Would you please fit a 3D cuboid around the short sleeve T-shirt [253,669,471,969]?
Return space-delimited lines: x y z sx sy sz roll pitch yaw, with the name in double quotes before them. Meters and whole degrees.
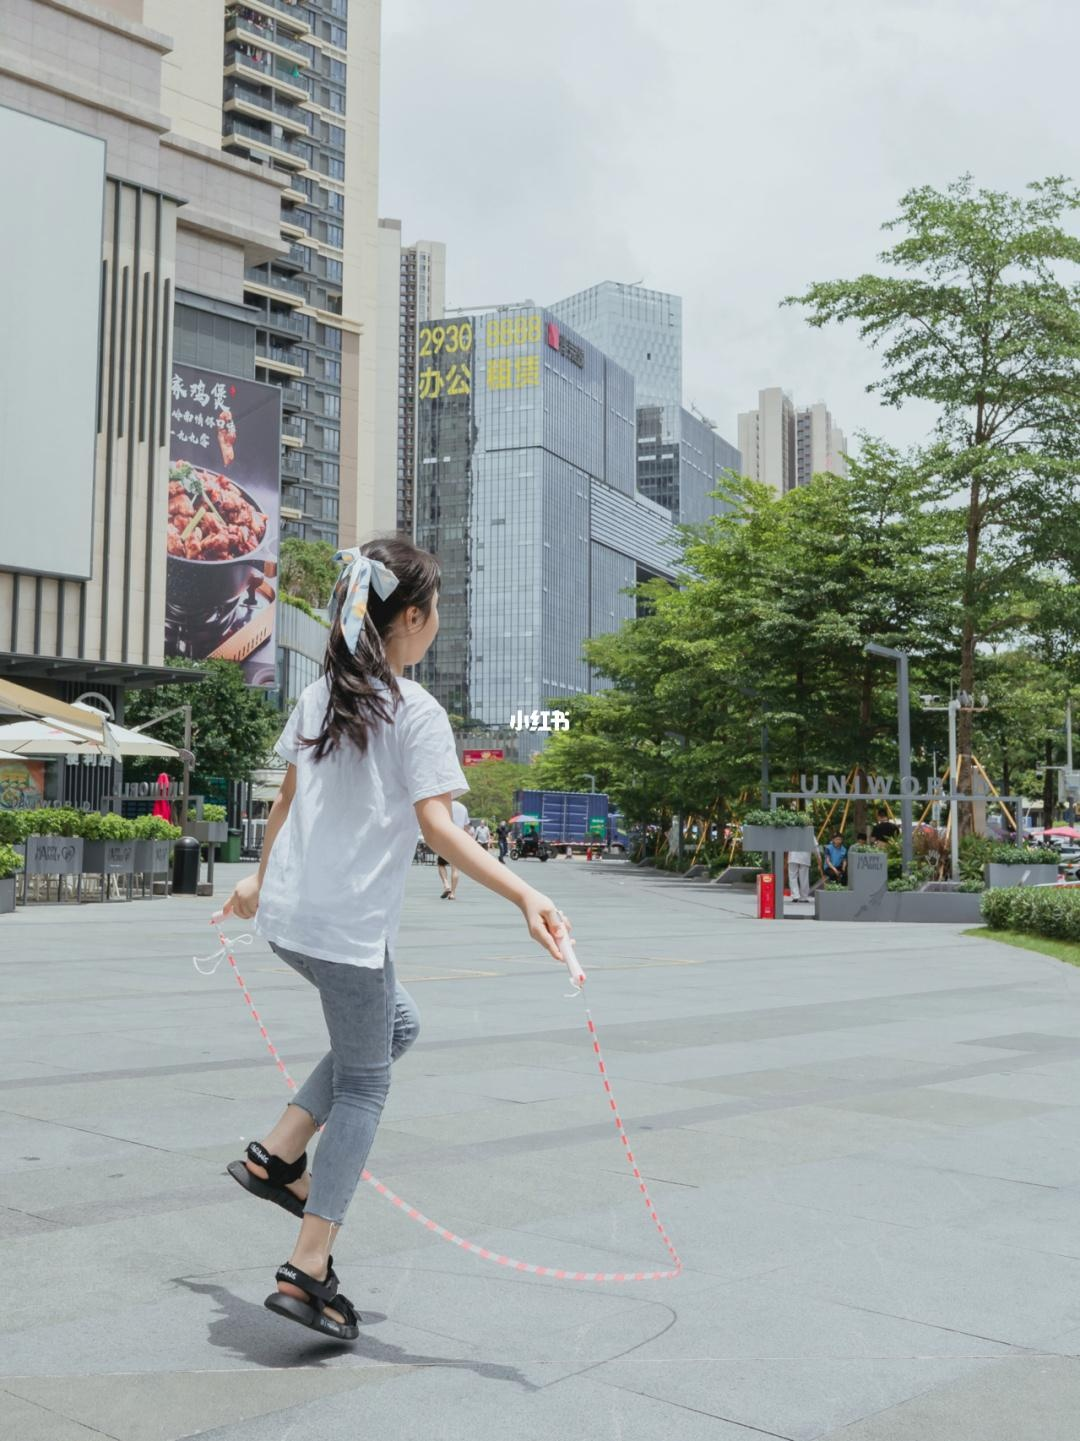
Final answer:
"short sleeve T-shirt" -0.418 0.240 4.119 0.510 0.694 0.294 6 -4 8

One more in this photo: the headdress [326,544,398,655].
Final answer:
"headdress" -0.418 -0.278 4.192 0.056 0.269 0.240 -5 19 -45

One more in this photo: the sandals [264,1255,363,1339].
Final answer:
"sandals" -0.483 1.307 3.900 0.246 0.152 0.119 33 -25 -28

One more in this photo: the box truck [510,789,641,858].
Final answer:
"box truck" 1.364 4.990 80.669 3.521 3.186 6.172 2 3 5

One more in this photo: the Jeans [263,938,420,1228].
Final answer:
"Jeans" -0.490 0.894 4.115 0.329 0.674 0.367 6 -4 5

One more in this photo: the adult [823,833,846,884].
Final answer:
"adult" 4.433 2.160 25.995 0.314 0.726 1.298 6 -4 9

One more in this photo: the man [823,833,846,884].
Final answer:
"man" 4.426 2.157 25.959 0.301 0.726 1.098 6 -4 8
